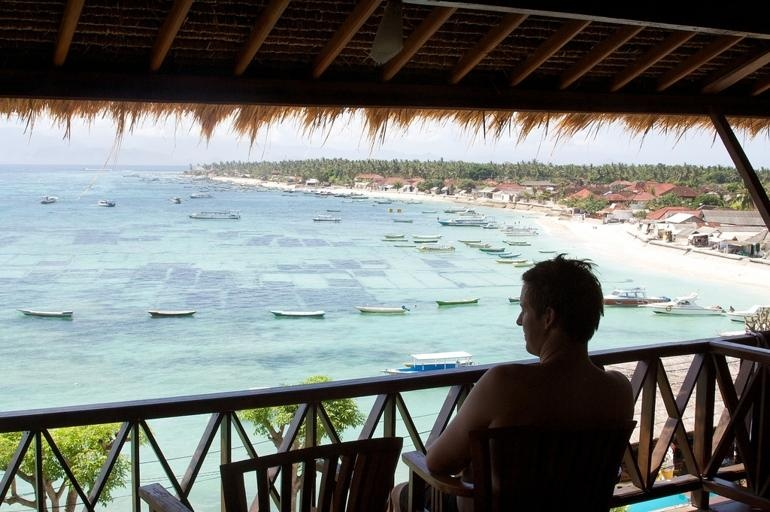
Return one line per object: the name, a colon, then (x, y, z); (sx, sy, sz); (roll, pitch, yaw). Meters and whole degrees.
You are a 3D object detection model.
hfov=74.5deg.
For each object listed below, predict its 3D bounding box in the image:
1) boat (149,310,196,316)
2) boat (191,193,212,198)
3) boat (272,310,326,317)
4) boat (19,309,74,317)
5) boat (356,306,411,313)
boat: (-11.761, 3.206, 27.926); (2.761, 0.268, 0.656); (-1, 14, -14)
boat: (-35.033, -11.481, 96.644); (3.435, 0.601, 0.862); (1, 36, -10)
boat: (-4.799, 3.266, 28.281); (3.285, 0.324, 0.806); (0, -2, -3)
boat: (-17.885, 3.087, 26.876); (2.506, 0.352, 0.614); (0, 2, 13)
boat: (-0.147, 3.171, 29.373); (4.113, 0.466, 0.788); (2, -4, -6)
